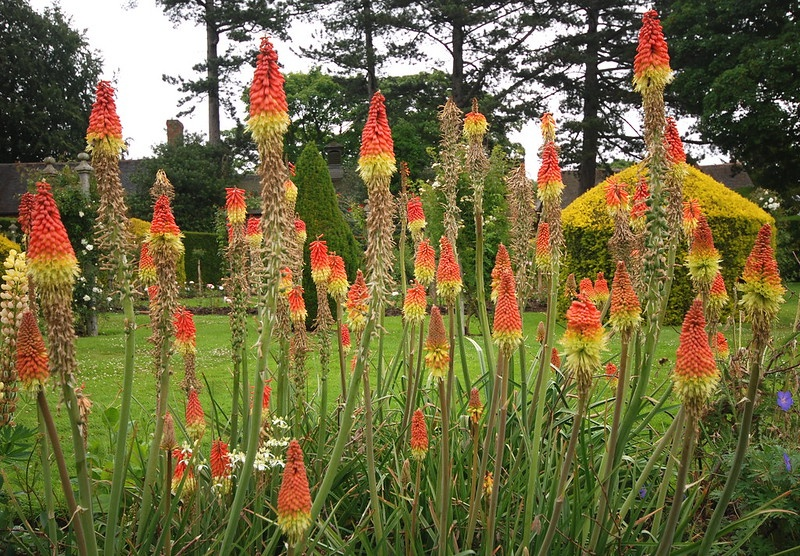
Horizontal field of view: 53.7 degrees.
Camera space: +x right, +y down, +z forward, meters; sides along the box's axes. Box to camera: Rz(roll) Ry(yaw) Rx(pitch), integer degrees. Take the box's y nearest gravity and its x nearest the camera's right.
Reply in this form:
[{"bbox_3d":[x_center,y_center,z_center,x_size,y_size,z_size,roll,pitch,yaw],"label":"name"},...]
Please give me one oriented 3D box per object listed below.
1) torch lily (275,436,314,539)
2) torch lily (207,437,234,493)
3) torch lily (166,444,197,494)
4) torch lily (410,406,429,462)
[{"bbox_3d":[-0.635,1.260,4.707,0.186,0.560,0.109,0,-1,-12],"label":"torch lily"},{"bbox_3d":[-1.283,1.359,5.640,0.146,0.428,0.350,0,-2,-13],"label":"torch lily"},{"bbox_3d":[-1.539,1.379,5.605,0.161,0.361,0.502,0,-2,-15],"label":"torch lily"},{"bbox_3d":[0.127,1.079,5.384,0.104,0.369,0.174,0,-1,-1],"label":"torch lily"}]
